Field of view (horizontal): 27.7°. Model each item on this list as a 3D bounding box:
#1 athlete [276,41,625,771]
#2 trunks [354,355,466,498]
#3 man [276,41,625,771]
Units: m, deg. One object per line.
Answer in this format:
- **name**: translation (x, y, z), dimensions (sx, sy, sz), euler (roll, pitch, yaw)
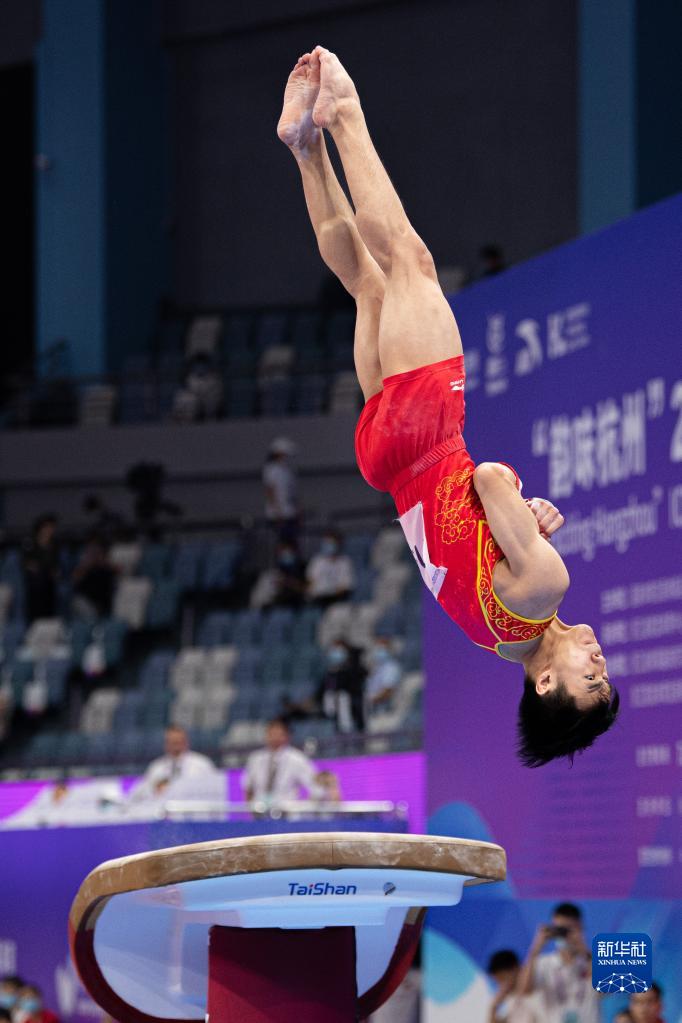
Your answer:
- **athlete**: translation (0.265, -0.302, 3.722), dimensions (0.402, 1.988, 1.058), euler (-13, 13, -16)
- **trunks**: translation (0.196, -0.233, 3.669), dimensions (0.225, 0.240, 0.352), euler (1, -24, -26)
- **man**: translation (0.265, -0.302, 3.722), dimensions (0.402, 1.988, 1.059), euler (-13, 13, -16)
